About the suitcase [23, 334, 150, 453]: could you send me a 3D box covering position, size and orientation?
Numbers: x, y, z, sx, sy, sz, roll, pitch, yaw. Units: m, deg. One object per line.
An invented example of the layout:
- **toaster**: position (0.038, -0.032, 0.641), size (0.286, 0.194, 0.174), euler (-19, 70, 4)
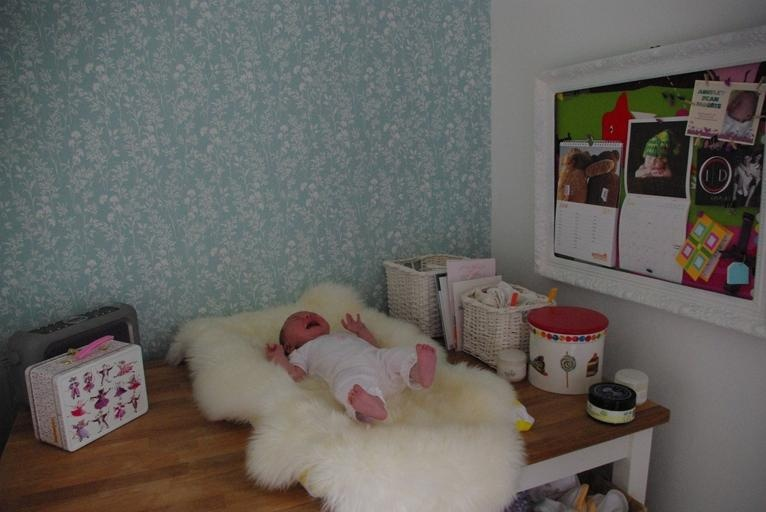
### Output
- **suitcase**: position (-0.985, 0.460, 1.803), size (0.159, 0.309, 0.308), euler (3, 9, 29)

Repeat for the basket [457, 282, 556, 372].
- **basket**: position (0.439, 0.223, 2.165), size (0.348, 0.294, 0.304), euler (-5, 11, -31)

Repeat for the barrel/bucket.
- **barrel/bucket**: position (0.620, 0.322, 1.998), size (0.278, 0.260, 0.269), euler (-1, 12, 0)
